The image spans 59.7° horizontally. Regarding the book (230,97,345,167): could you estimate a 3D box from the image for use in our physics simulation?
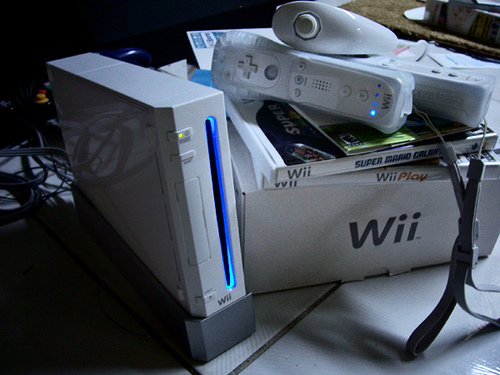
[{"bbox_3d":[0.062,-0.088,0.708,0.106,0.014,0.195,-11,45,-18],"label":"book"}]

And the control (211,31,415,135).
[{"bbox_3d":[0.093,-0.173,0.758,0.401,0.149,0.100,20,10,20],"label":"control"}]

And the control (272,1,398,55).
[{"bbox_3d":[0.129,-0.262,0.734,0.138,0.052,0.106,1,32,-19],"label":"control"}]
